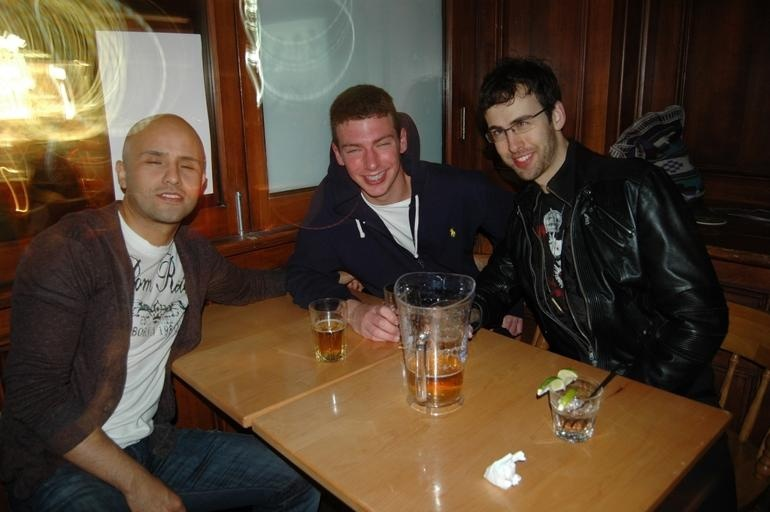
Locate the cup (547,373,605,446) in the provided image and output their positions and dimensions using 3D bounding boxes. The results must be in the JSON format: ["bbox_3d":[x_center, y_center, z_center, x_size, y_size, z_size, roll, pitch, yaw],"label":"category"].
[{"bbox_3d":[0.581,0.473,1.621,0.144,0.146,0.166,-1,16,5],"label":"cup"}]

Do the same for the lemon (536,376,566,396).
[{"bbox_3d":[0.537,0.419,1.666,0.032,0.059,0.106,-25,-4,-35],"label":"lemon"}]
